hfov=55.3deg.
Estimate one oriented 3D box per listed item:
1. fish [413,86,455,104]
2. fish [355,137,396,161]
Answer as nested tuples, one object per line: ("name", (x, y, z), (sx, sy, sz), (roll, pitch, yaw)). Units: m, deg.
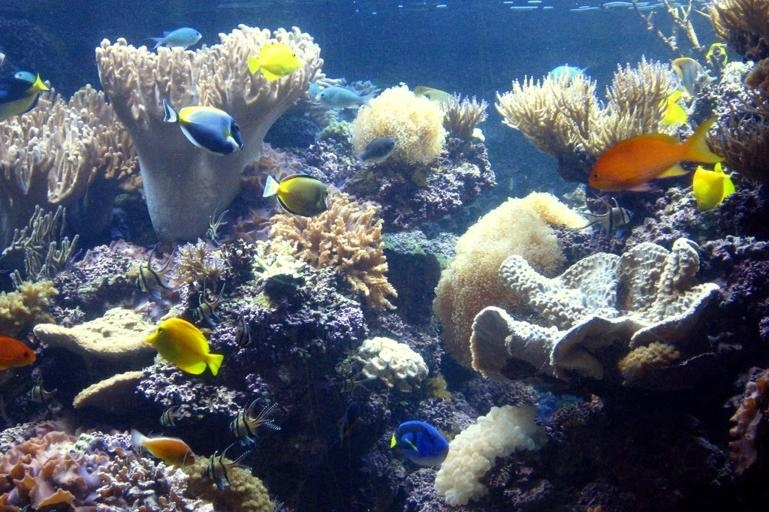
("fish", (0.893, -3.024, 13.694), (0.587, 0.228, 0.422), (29, 13, 9))
("fish", (-0.085, -1.711, 11.835), (0.588, 0.465, 0.258), (-1, 31, -12))
